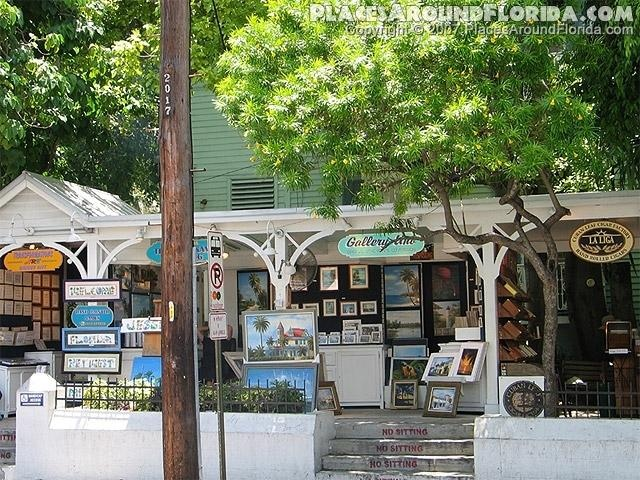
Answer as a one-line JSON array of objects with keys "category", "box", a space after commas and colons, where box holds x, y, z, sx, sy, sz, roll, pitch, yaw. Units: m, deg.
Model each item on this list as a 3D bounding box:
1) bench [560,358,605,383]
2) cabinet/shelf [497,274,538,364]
[{"category": "bench", "box": [5.351, 2.699, 20.059, 0.875, 0.464, 0.654, -4, -1, 23]}, {"category": "cabinet/shelf", "box": [3.893, 1.639, 19.445, 0.572, 1.738, 1.741, -3, -7, 13]}]
